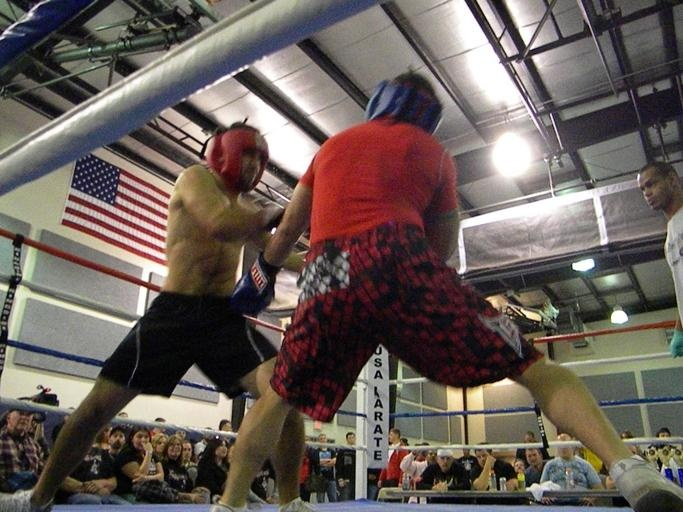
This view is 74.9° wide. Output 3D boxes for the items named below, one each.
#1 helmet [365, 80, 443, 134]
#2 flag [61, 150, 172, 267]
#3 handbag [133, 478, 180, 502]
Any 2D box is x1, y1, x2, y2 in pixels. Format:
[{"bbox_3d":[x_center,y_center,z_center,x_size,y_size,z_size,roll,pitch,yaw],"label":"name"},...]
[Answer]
[{"bbox_3d":[0.191,-0.425,1.337,0.159,0.166,0.202,-2,-10,25],"label":"helmet"},{"bbox_3d":[-3.512,-0.691,6.808,0.069,1.231,1.752,-19,-37,31],"label":"flag"},{"bbox_3d":[-1.462,1.827,3.509,0.286,0.124,0.216,10,-6,-27],"label":"handbag"}]
